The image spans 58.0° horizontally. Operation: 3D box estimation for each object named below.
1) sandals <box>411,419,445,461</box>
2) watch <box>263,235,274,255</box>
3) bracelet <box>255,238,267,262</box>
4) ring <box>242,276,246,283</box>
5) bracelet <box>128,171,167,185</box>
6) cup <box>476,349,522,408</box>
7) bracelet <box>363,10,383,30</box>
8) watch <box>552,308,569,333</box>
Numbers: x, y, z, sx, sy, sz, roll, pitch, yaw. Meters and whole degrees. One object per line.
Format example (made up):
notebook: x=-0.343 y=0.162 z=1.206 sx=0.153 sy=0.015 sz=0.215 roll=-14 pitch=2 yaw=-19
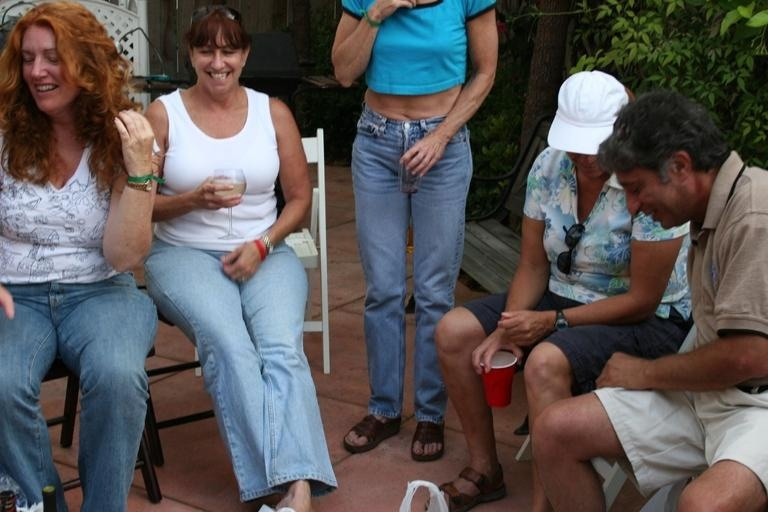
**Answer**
sandals: x=0.223 y=0.963 z=3.592 sx=0.102 sy=0.107 sz=0.247 roll=0 pitch=6 yaw=4
watch: x=-0.581 y=-0.053 z=3.449 sx=0.027 sy=0.080 sz=0.057 roll=-16 pitch=18 yaw=-8
bracelet: x=-0.604 y=-0.027 z=3.393 sx=0.033 sy=0.089 sz=0.085 roll=-15 pitch=12 yaw=-22
ring: x=-0.676 y=0.114 z=3.329 sx=0.023 sy=0.019 sz=0.024 roll=2 pitch=18 yaw=-1
bracelet: x=-1.055 y=-0.340 z=3.049 sx=0.100 sy=0.032 sz=0.104 roll=-2 pitch=-3 yaw=27
cup: x=0.525 y=0.556 z=3.176 sx=0.187 sy=0.257 sz=0.162 roll=-10 pitch=20 yaw=-28
bracelet: x=-0.054 y=-1.138 z=3.348 sx=0.093 sy=0.075 sz=0.062 roll=5 pitch=18 yaw=-2
watch: x=0.792 y=0.292 z=3.100 sx=0.057 sy=0.101 sz=0.091 roll=-12 pitch=13 yaw=-1
